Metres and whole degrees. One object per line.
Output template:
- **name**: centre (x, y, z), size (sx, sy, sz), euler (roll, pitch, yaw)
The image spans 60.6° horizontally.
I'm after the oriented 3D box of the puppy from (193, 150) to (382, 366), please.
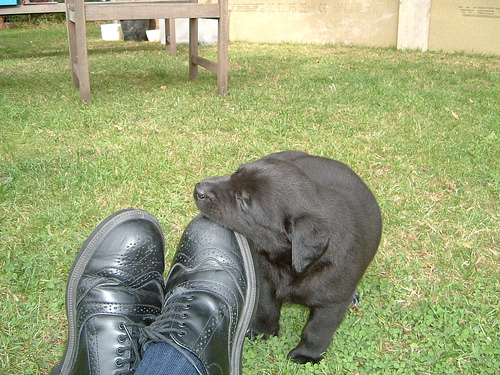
- **puppy**: centre (0.375, 0.395, 2.931), size (0.888, 1.348, 1.338), euler (21, 32, 32)
